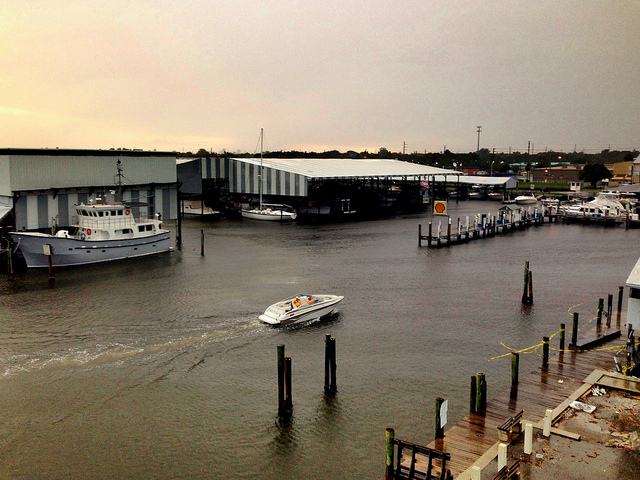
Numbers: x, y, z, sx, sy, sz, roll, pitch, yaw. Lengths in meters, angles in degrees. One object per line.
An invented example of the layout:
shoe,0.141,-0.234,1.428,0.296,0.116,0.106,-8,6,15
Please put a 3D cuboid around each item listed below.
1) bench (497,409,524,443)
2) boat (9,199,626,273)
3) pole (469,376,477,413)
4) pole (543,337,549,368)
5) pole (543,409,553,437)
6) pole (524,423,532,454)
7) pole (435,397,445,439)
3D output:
bench,7.841,7.683,30.699,0.645,1.040,1.285,5,13,39
boat,-10.038,-0.973,63.175,30.196,6.769,3.835,-4,12,-32
pole,6.715,6.793,32.652,0.251,1.473,0.520,3,13,12
pole,10.828,5.341,35.828,0.306,1.492,0.645,4,14,18
pole,9.276,7.492,30.446,0.291,1.023,0.449,4,13,16
pole,8.269,7.853,29.596,0.324,1.195,0.558,4,13,16
pole,4.995,7.474,31.051,0.356,1.780,0.374,2,13,7
